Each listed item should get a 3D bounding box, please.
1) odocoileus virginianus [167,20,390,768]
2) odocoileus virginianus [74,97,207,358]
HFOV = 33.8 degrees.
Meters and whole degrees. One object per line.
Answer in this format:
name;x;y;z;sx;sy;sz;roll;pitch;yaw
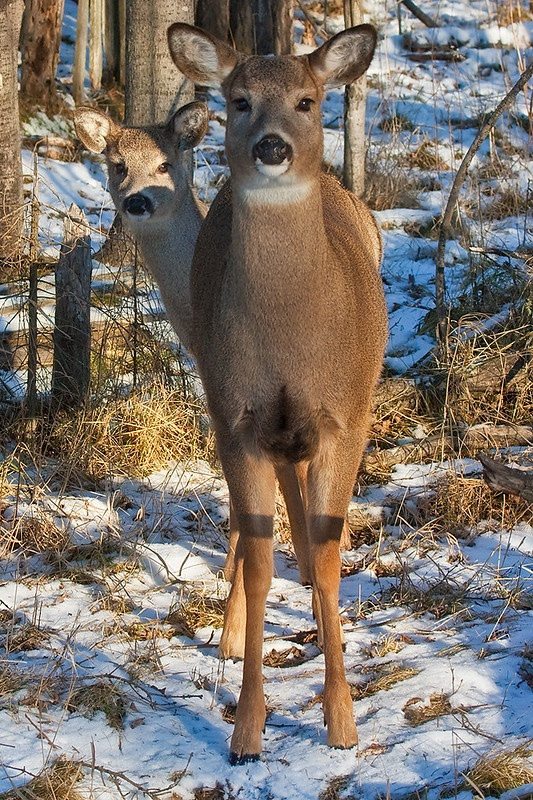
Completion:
odocoileus virginianus;0.081;-0.150;2.950;0.734;2.250;1.322;-4;10;8
odocoileus virginianus;-0.601;-1.066;5.274;0.656;1.385;1.686;-4;16;2
